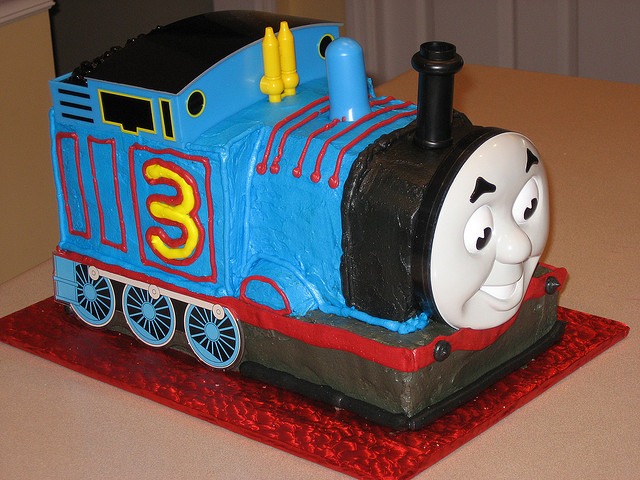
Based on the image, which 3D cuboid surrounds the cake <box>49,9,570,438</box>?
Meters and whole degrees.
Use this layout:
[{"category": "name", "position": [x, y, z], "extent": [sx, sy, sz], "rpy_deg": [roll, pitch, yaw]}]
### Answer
[{"category": "cake", "position": [-0.043, -0.094, 1.853], "extent": [1.286, 0.855, 0.924], "rpy_deg": [16, 33, 29]}]
